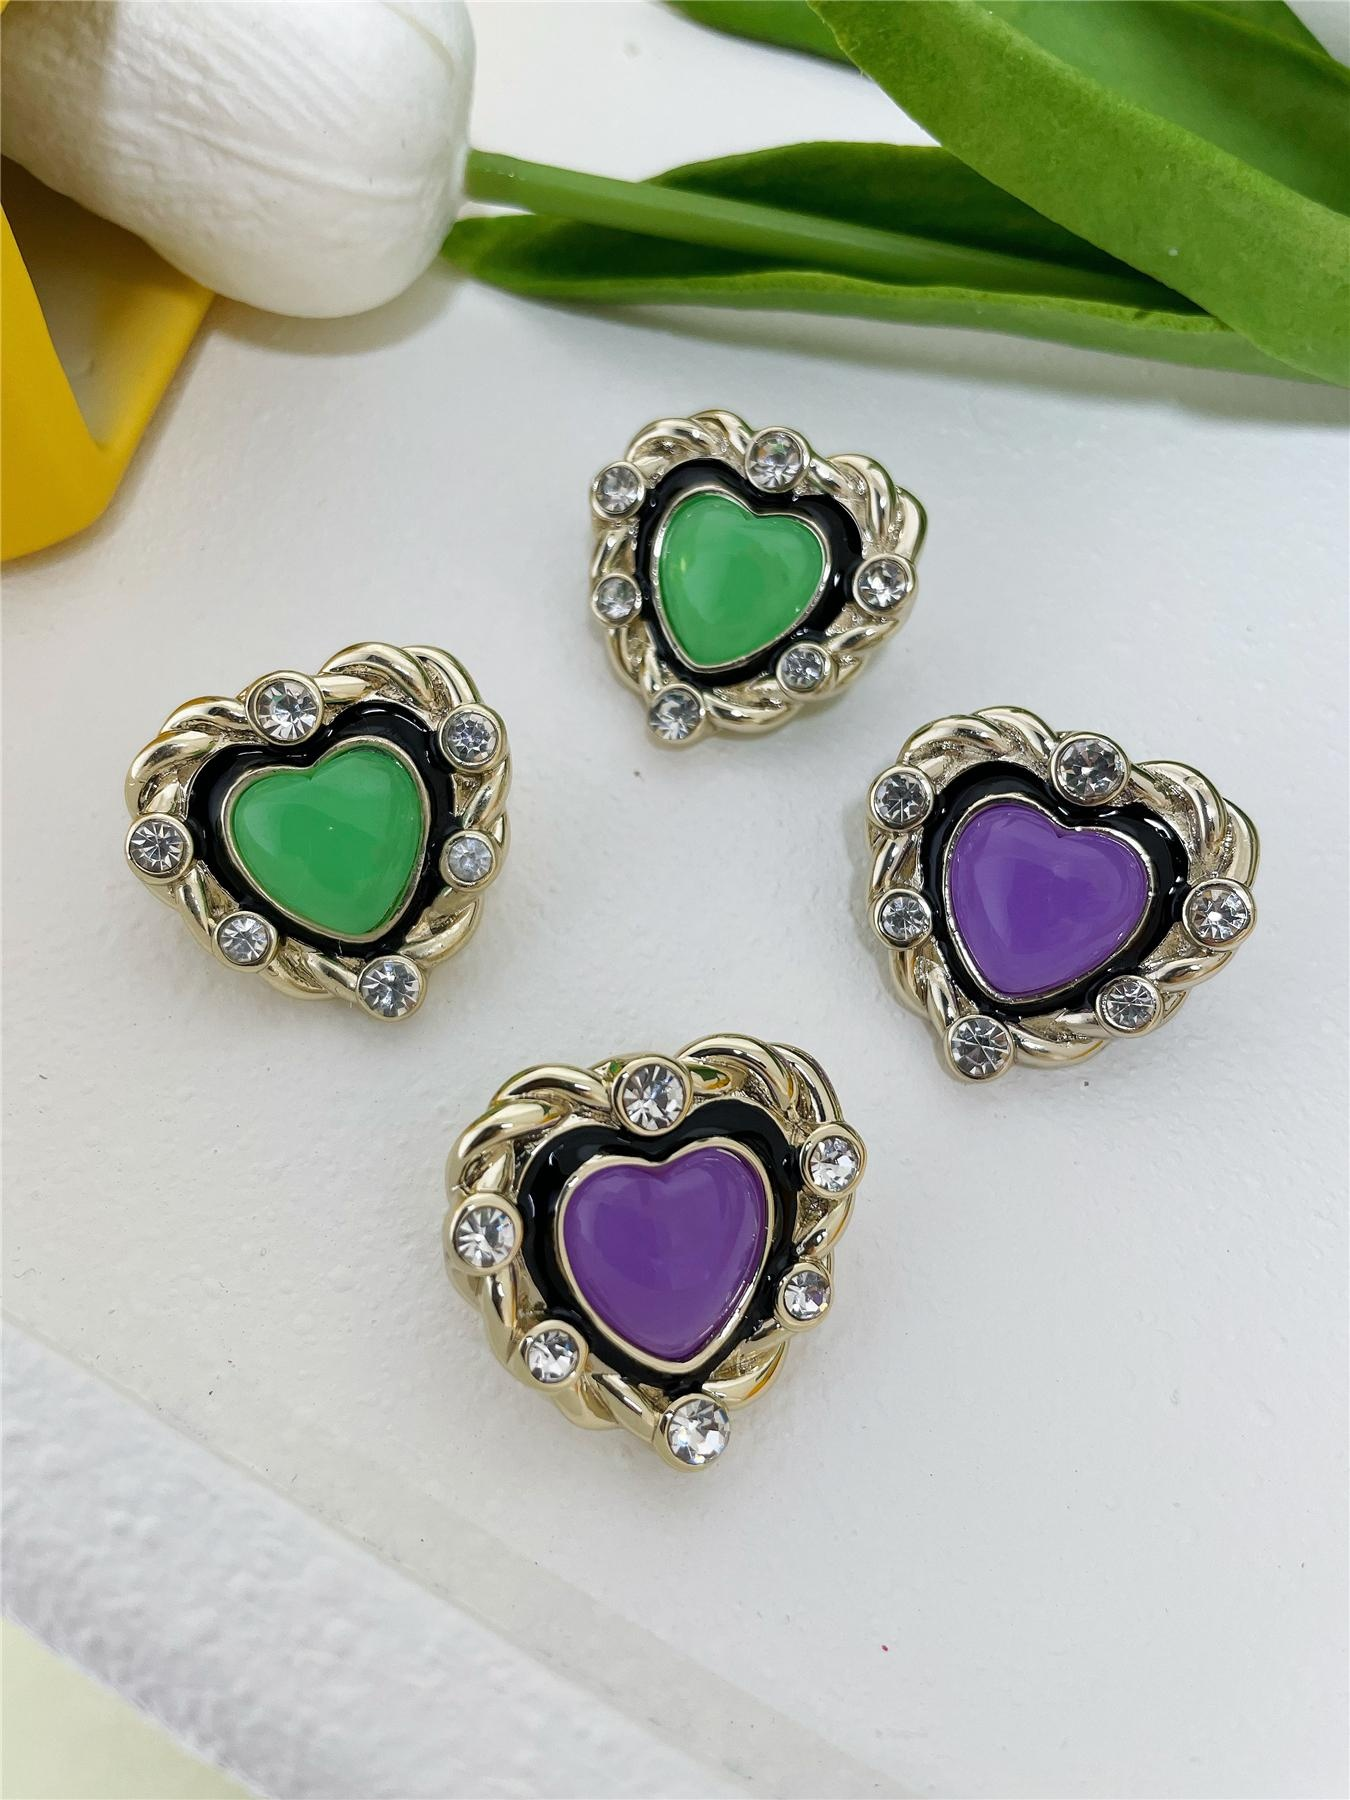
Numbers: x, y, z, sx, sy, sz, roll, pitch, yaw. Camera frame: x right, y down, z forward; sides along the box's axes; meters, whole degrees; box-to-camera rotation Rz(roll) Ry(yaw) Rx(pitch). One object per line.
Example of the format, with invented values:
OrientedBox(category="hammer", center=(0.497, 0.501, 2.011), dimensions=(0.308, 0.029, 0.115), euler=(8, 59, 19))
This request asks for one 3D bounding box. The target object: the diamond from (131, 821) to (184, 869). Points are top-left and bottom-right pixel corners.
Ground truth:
OrientedBox(category="diamond", center=(-0.257, -0.027, 0.904), dimensions=(0.026, 0.023, 0.006), euler=(1, 2, -13))

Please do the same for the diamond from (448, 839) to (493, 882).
OrientedBox(category="diamond", center=(-0.105, -0.020, 0.928), dimensions=(0.024, 0.022, 0.007), euler=(-1, 4, -6))
